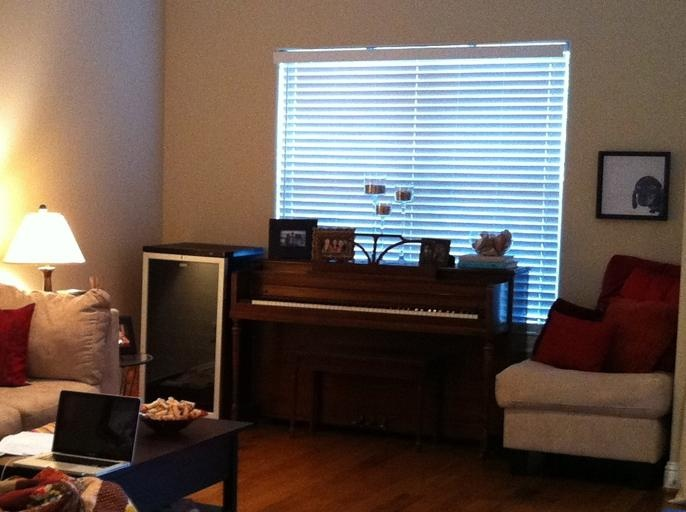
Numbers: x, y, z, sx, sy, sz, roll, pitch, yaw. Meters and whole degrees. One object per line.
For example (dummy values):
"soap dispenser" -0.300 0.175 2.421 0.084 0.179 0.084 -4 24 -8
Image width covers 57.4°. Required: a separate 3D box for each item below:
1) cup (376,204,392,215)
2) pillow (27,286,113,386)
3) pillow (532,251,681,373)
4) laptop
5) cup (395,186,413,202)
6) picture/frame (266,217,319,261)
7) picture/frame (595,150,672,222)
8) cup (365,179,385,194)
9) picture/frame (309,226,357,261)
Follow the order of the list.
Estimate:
"cup" 0.293 -0.337 4.551 0.080 0.063 0.085 0 0 0
"pillow" -1.588 0.480 3.627 0.552 0.549 0.305 -1 -1 20
"pillow" 1.728 0.314 4.088 0.713 0.788 0.805 3 2 37
"laptop" -1.031 0.606 2.433 0.388 0.265 0.302 2 2 25
"cup" 0.438 -0.443 4.523 0.104 0.076 0.103 1 2 0
"picture/frame" -0.367 -0.119 4.648 0.307 0.268 0.109 2 1 6
"picture/frame" 1.979 -0.481 4.233 0.471 0.485 0.036 2 1 13
"cup" 0.225 -0.504 4.582 0.112 0.081 0.115 -1 5 0
"picture/frame" -0.080 -0.085 4.501 0.239 0.210 0.095 1 -10 3
